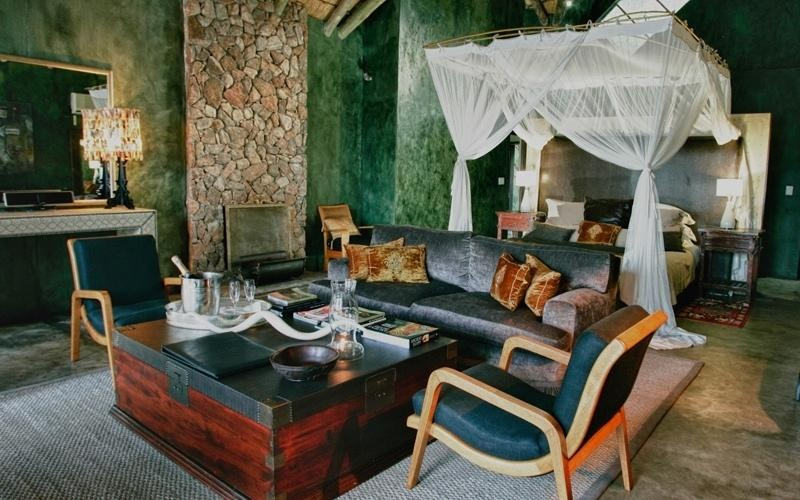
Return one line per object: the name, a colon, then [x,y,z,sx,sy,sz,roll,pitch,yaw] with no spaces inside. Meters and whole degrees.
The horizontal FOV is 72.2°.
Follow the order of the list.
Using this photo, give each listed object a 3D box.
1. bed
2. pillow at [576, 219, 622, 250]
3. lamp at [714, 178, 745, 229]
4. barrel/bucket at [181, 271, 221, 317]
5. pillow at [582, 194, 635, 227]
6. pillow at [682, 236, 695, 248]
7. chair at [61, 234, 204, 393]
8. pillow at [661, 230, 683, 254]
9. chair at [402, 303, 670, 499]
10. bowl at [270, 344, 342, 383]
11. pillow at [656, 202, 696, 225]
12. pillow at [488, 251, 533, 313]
bed: [3.356,-0.128,7.632,1.890,0.841,1.841,7,11,41]
pillow: [2.694,-0.211,7.477,0.454,0.441,0.138,0,-37,33]
lamp: [4.738,-0.665,7.917,0.337,0.728,0.582,2,9,30]
barrel/bucket: [-1.693,0.391,4.684,0.302,0.345,0.374,-1,5,-36]
pillow: [3.029,-0.544,7.988,0.696,0.579,0.261,3,-17,45]
pillow: [4.158,-0.095,7.936,0.230,0.140,0.289,-5,10,16]
chair: [-2.748,0.480,5.381,1.182,1.491,1.447,-5,9,-44]
pillow: [3.762,-0.107,7.566,0.395,0.279,0.179,-6,8,-26]
chair: [0.923,0.996,4.407,1.827,1.549,1.240,6,8,37]
bowl: [-0.705,0.821,4.052,0.318,0.093,0.305,1,18,0]
pillow: [4.031,-0.510,8.063,0.613,0.196,0.665,1,6,21]
pillow: [1.091,0.335,5.359,0.265,0.450,0.491,-14,16,-24]
